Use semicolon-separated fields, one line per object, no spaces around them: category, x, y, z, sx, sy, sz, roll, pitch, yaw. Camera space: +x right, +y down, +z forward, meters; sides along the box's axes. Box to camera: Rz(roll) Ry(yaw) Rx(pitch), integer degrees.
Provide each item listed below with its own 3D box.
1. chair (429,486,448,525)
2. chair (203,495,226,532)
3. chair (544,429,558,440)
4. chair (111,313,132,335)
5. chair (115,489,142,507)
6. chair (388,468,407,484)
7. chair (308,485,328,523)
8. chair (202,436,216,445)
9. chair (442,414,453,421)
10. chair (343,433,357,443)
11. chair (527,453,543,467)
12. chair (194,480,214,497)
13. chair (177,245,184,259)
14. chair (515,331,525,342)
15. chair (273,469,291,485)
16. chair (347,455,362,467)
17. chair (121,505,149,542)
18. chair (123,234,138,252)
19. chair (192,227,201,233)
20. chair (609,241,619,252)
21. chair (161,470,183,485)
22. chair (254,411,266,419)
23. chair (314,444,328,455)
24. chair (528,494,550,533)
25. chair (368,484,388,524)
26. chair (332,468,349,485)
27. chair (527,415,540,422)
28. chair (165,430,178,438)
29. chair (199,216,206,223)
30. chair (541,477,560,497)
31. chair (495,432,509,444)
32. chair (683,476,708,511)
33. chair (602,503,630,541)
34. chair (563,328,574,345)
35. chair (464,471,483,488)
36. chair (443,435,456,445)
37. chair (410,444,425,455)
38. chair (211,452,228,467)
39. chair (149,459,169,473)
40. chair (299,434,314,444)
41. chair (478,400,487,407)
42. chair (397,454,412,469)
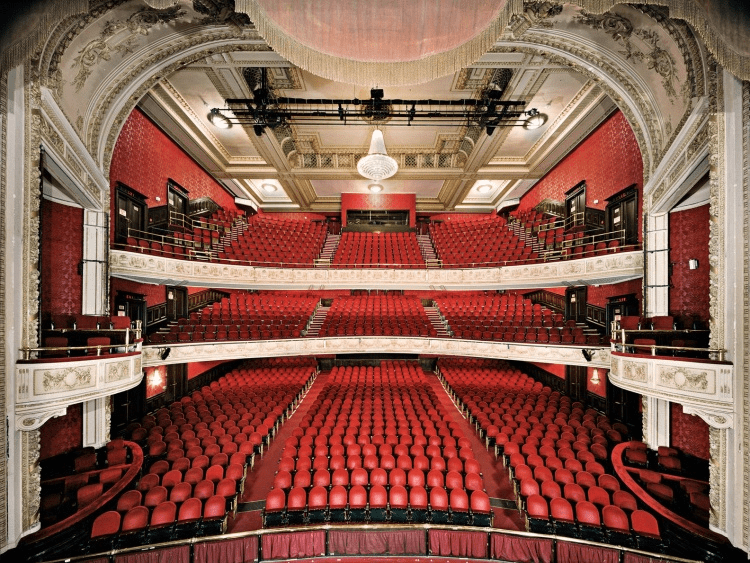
chair;1.249;4.388;10.026;0.348;0.500;0.428;2;8;6
chair;-3.069;4.467;9.803;0.453;0.586;0.437;-2;9;-18
chair;4.115;3.596;11.952;0.215;0.156;0.214;-3;2;-1
chair;-5.499;0.911;11.097;0.477;0.603;0.488;6;-17;-31
chair;-4.681;4.165;9.742;0.257;0.272;0.320;2;-33;-7
chair;0.448;4.059;10.554;0.363;0.260;0.351;6;9;28
chair;-1.033;4.433;10.178;0.390;0.522;0.498;1;-23;-2
chair;-3.741;3.668;11.633;0.281;0.130;0.295;-6;10;-40
chair;1.837;3.464;12.953;0.189;0.166;0.185;3;3;-29
chair;-0.554;3.621;11.704;0.276;0.173;0.419;1;8;2
chair;3.480;3.892;11.099;0.209;0.229;0.259;6;-27;-4
chair;-3.416;4.180;10.252;0.397;0.306;0.255;-1;9;-13
chair;-5.384;-0.823;14.205;0.251;0.398;0.811;-2;8;-17
chair;4.040;1.562;14.298;0.275;0.206;0.282;0;-1;-14
chair;-1.873;4.064;10.488;0.332;0.220;0.313;1;8;-4
chair;-0.436;3.900;11.031;0.316;0.204;0.215;1;8;-4
chair;-4.422;4.476;9.444;0.438;0.462;0.367;-2;9;-22
chair;-6.029;-0.933;12.732;0.462;0.593;0.419;0;3;-23
chair;-5.505;-1.595;15.940;0.241;0.183;0.447;-1;8;-14
chair;5.985;-0.871;12.806;0.212;0.305;0.617;5;9;22
chair;-4.119;4.023;10.406;0.245;0.306;0.341;2;16;2
chair;-2.933;3.430;13.040;0.192;0.112;0.172;-6;3;13
chair;-1.184;3.769;11.322;0.309;0.140;0.293;0;8;-7
chair;3.170;4.555;9.965;0.417;0.614;0.643;2;-2;11
chair;0.076;4.359;10.039;0.366;0.515;0.527;1;-27;0
chair;-0.701;4.028;10.517;0.259;0.151;0.260;5;0;15
chair;3.963;3.461;12.797;0.176;0.104;0.177;0;8;-5
chair;-4.693;3.555;11.848;0.141;0.183;0.178;3;0;3
chair;-5.591;-1.996;16.633;0.206;0.185;0.510;-1;8;-11
chair;3.523;4.170;10.230;0.375;0.269;0.289;6;10;32
chair;2.985;3.696;11.986;0.220;0.212;0.236;20;-20;4
chair;6.149;4.057;9.777;0.372;0.435;0.400;-7;-26;19
chair;4.451;4.496;9.491;0.473;0.684;0.543;-3;-28;7
chair;5.143;1.483;13.673;0.290;0.372;0.390;-1;-14;10
chair;2.006;4.060;10.429;0.299;0.207;0.299;1;-3;9
chair;1.695;3.664;11.643;0.287;0.150;0.384;2;8;9
chair;0.948;3.780;11.436;0.201;0.116;0.199;6;-7;-34
chair;-3.357;3.856;11.061;0.220;0.231;0.271;1;10;14
chair;-4.516;3.904;10.704;0.230;0.286;0.304;1;-35;-7
chair;-1.557;3.664;11.644;0.275;0.135;0.395;2;8;5
chair;2.915;3.321;13.736;0.168;0.190;0.150;12;-15;-27
chair;0.647;3.907;11.008;0.313;0.203;0.345;1;8;-1
